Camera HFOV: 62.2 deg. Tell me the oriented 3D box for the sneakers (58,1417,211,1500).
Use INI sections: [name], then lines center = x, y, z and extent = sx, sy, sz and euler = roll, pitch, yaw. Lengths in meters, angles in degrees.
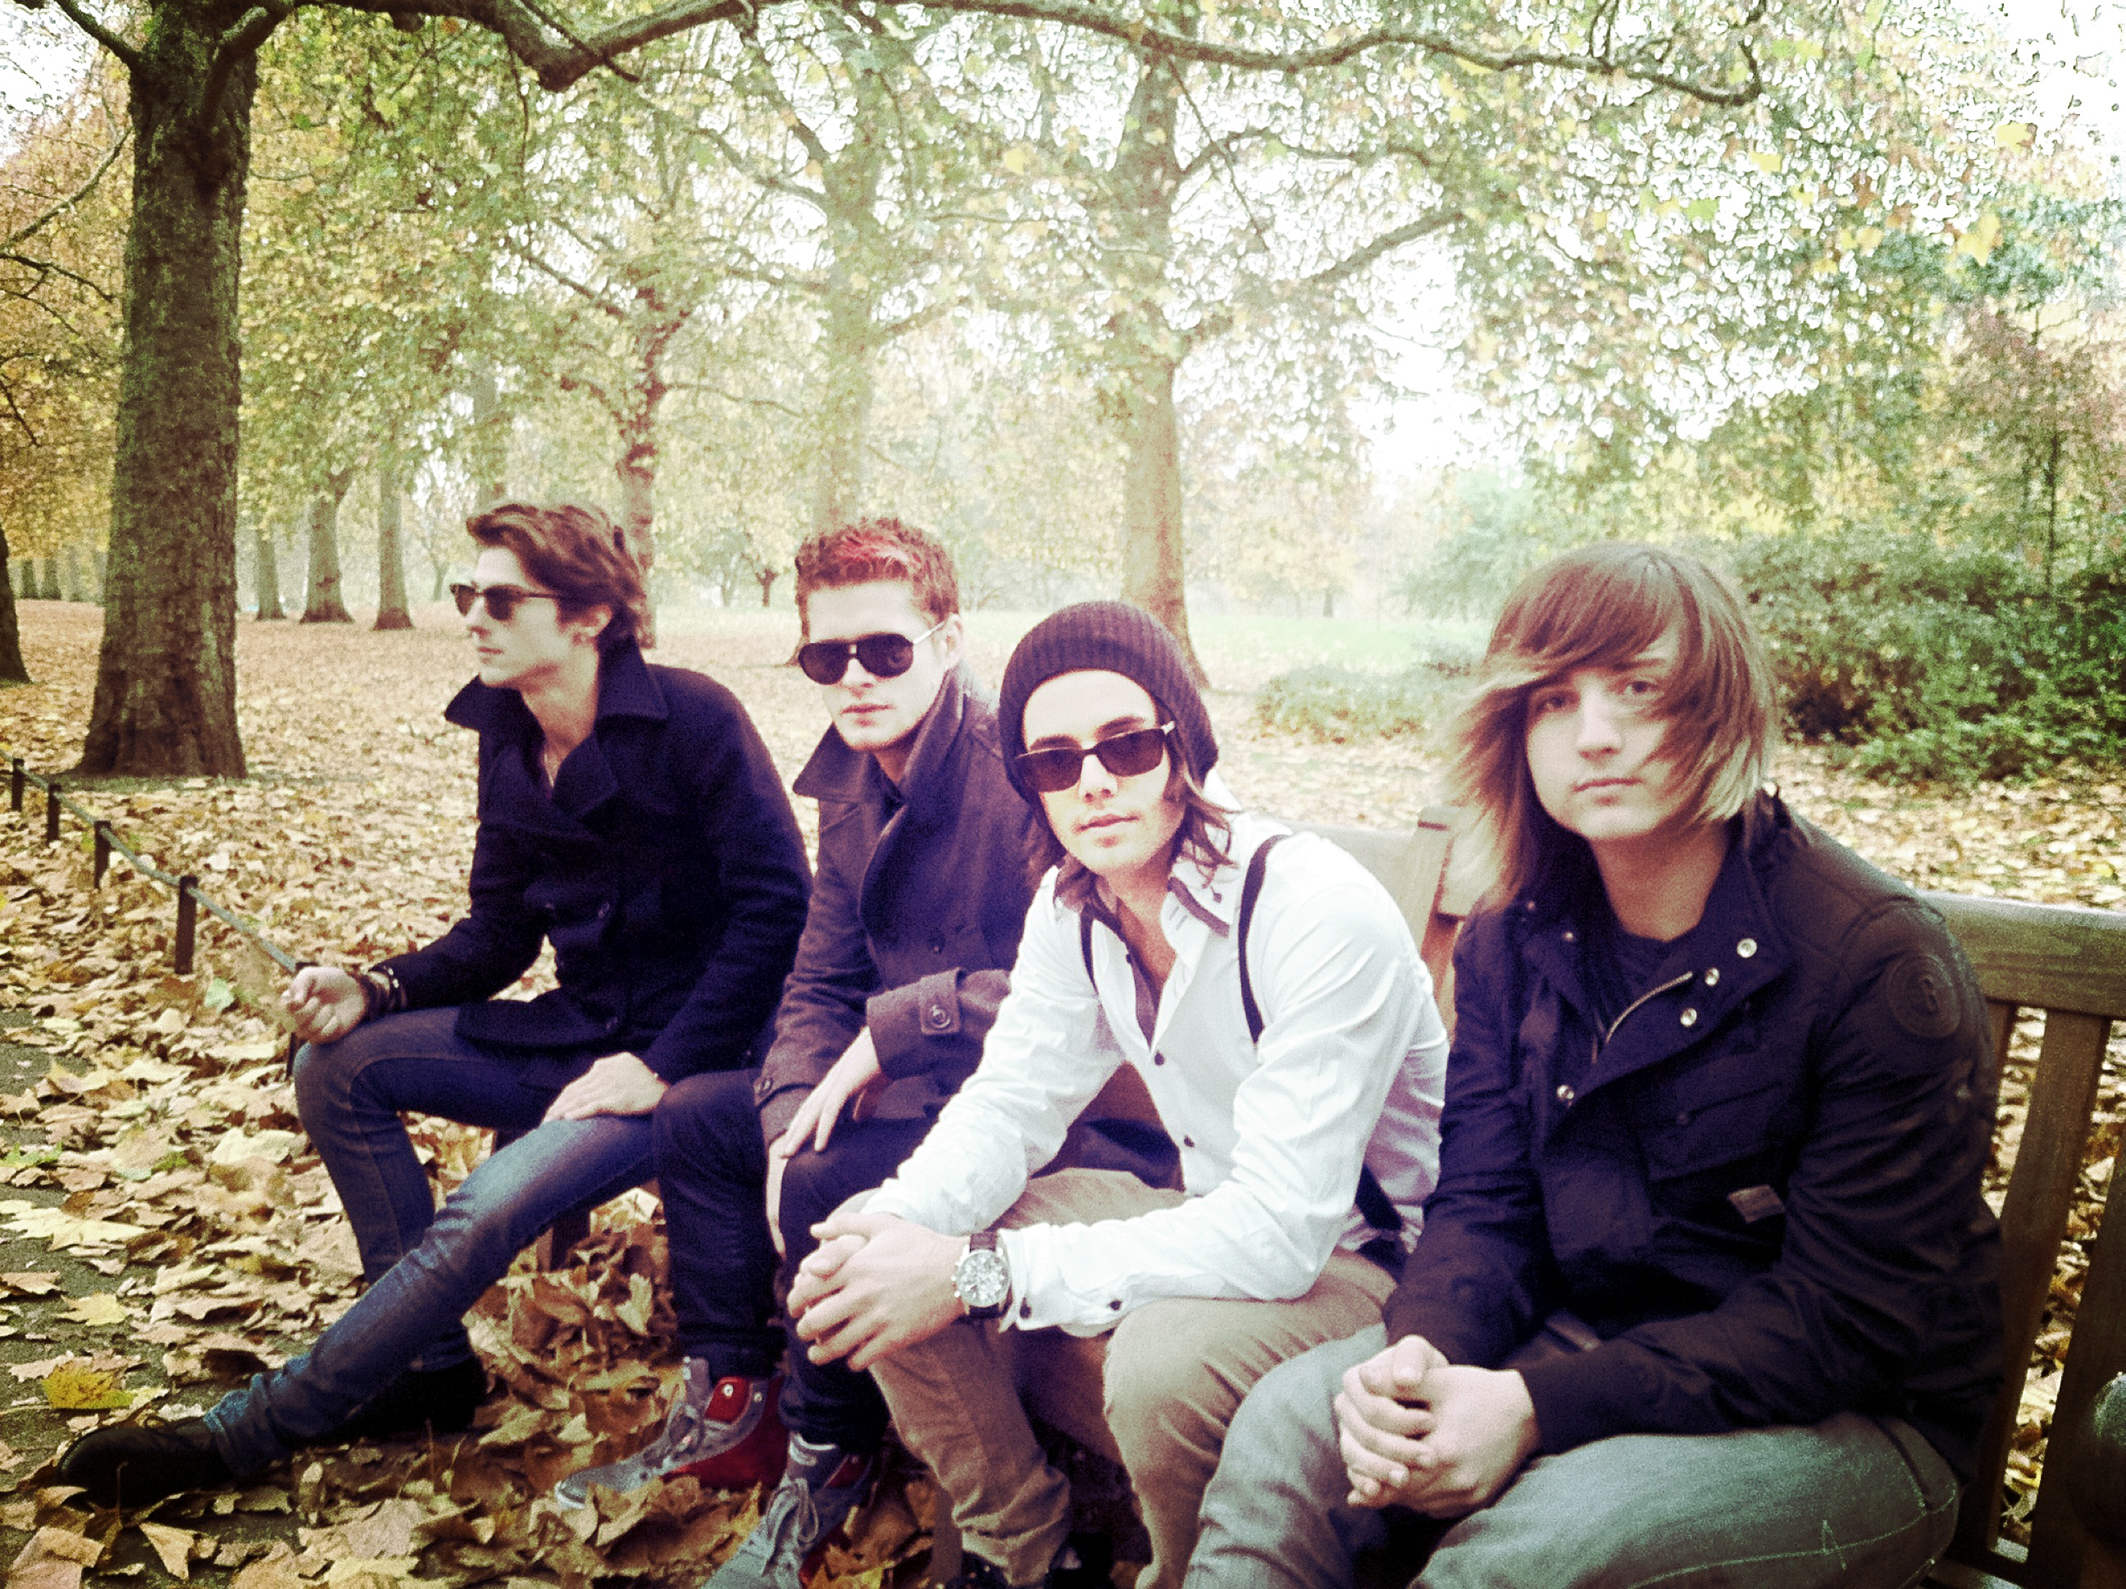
[sneakers]
center = -2.591, 1.866, 4.986
extent = 0.406, 0.188, 0.159
euler = -6, -12, -28
